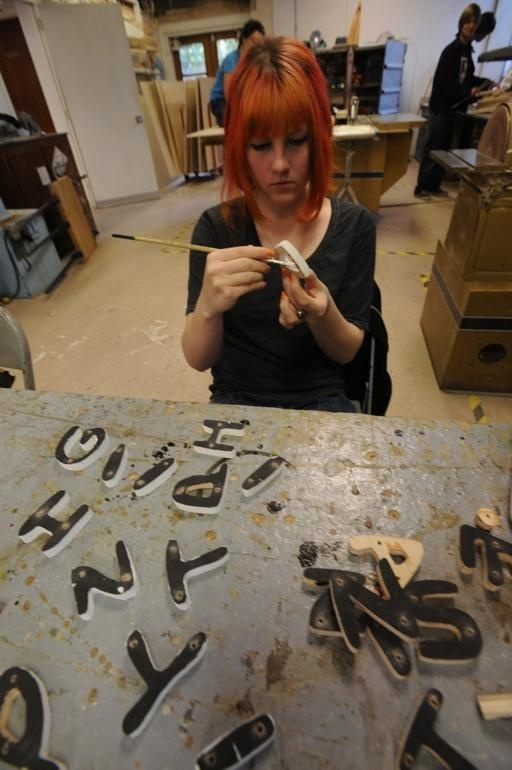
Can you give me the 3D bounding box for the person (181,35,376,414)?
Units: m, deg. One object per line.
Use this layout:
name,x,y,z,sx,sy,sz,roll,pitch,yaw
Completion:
person,0.037,-0.309,1.282,0.488,0.878,0.577,4,36,12

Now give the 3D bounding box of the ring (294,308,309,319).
ring,0.094,-0.149,1.126,0.010,0.023,0.023,-27,23,-34

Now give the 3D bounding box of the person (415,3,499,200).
person,1.820,-2.539,4.900,0.574,1.624,0.965,10,37,19
